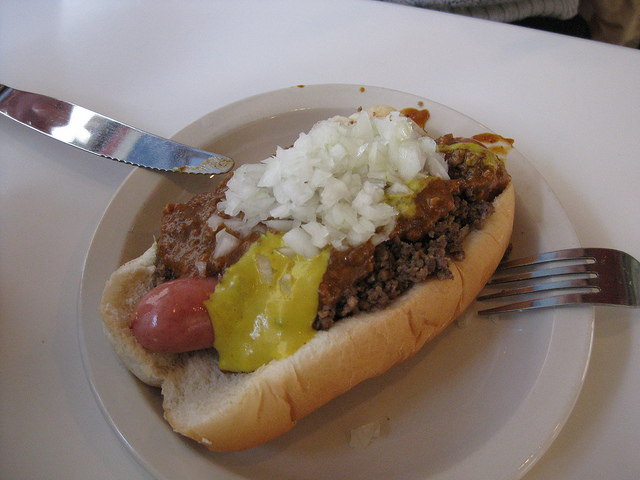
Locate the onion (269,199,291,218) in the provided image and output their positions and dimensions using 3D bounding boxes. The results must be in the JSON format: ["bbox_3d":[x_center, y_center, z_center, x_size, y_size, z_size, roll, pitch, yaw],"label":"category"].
[{"bbox_3d":[-0.219,-0.177,3.609,0.080,0.026,0.108,43,98,12],"label":"onion"}]

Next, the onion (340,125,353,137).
[{"bbox_3d":[0.156,-0.631,3.689,0.022,0.064,0.067,-29,67,18],"label":"onion"}]

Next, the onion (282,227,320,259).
[{"bbox_3d":[-0.090,0.033,3.573,0.131,0.063,0.195,-40,87,-12],"label":"onion"}]

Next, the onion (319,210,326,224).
[{"bbox_3d":[0.013,-0.128,3.593,0.034,0.014,0.057,-3,103,26],"label":"onion"}]

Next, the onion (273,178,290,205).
[{"bbox_3d":[-0.220,-0.277,3.603,0.085,0.031,0.134,29,106,12],"label":"onion"}]

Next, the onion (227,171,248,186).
[{"bbox_3d":[-0.474,-0.357,3.689,0.112,0.045,0.094,6,83,2],"label":"onion"}]

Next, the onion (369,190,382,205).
[{"bbox_3d":[0.321,-0.245,3.623,0.050,0.018,0.079,-7,104,-18],"label":"onion"}]

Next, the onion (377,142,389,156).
[{"bbox_3d":[0.362,-0.528,3.680,0.071,0.031,0.056,23,84,4],"label":"onion"}]

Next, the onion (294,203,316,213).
[{"bbox_3d":[-0.087,-0.182,3.589,0.117,0.023,0.044,4,83,1],"label":"onion"}]

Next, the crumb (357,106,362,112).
[{"bbox_3d":[0.271,-0.902,4.370,0.041,0.049,0.017,-26,53,-15],"label":"crumb"}]

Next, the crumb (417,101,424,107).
[{"bbox_3d":[0.685,-0.928,4.348,0.033,0.024,0.030,-1,61,23],"label":"crumb"}]

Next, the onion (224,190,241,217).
[{"bbox_3d":[-0.508,-0.215,3.650,0.095,0.043,0.128,-2,93,14],"label":"onion"}]

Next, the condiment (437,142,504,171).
[{"bbox_3d":[0.924,-0.537,3.858,0.283,0.069,0.190,22,39,14],"label":"condiment"}]

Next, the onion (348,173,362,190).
[{"bbox_3d":[0.198,-0.333,3.618,0.080,0.043,0.085,-2,83,1],"label":"onion"}]

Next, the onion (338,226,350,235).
[{"bbox_3d":[0.134,-0.056,3.597,0.036,0.011,0.048,-2,48,-5],"label":"onion"}]

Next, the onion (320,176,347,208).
[{"bbox_3d":[0.112,-0.273,3.594,0.044,0.173,0.124,-4,84,-18],"label":"onion"}]

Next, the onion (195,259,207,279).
[{"bbox_3d":[-0.690,0.164,3.652,0.061,0.022,0.100,-5,81,17],"label":"onion"}]

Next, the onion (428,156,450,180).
[{"bbox_3d":[0.694,-0.426,3.755,0.039,0.088,0.163,-42,63,36],"label":"onion"}]

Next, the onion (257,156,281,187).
[{"bbox_3d":[-0.283,-0.374,3.597,0.088,0.051,0.181,10,81,25],"label":"onion"}]

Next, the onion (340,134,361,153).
[{"bbox_3d":[0.169,-0.541,3.668,0.123,0.032,0.073,45,71,-6],"label":"onion"}]

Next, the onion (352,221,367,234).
[{"bbox_3d":[0.221,-0.068,3.582,0.074,0.018,0.058,42,85,5],"label":"onion"}]

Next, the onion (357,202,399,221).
[{"bbox_3d":[0.326,-0.162,3.600,0.177,0.071,0.092,-1,70,-7],"label":"onion"}]

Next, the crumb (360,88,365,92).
[{"bbox_3d":[0.295,-1.051,4.454,0.021,0.012,0.022,-6,52,-2],"label":"crumb"}]
